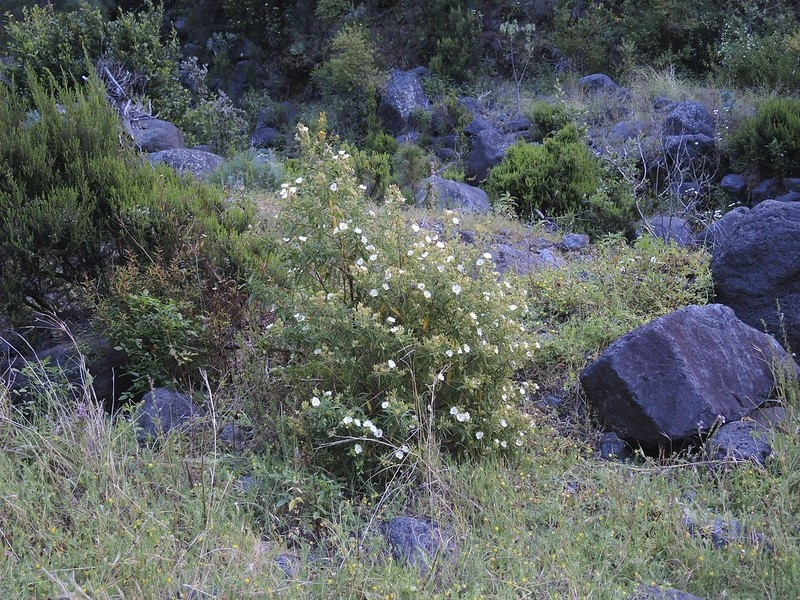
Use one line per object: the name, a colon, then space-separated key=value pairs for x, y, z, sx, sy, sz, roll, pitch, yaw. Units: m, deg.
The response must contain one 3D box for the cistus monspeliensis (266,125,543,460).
cistus monspeliensis: x=0.089 y=-0.077 z=6.276 sx=2.160 sy=2.830 sz=1.813 roll=-17 pitch=20 yaw=8
